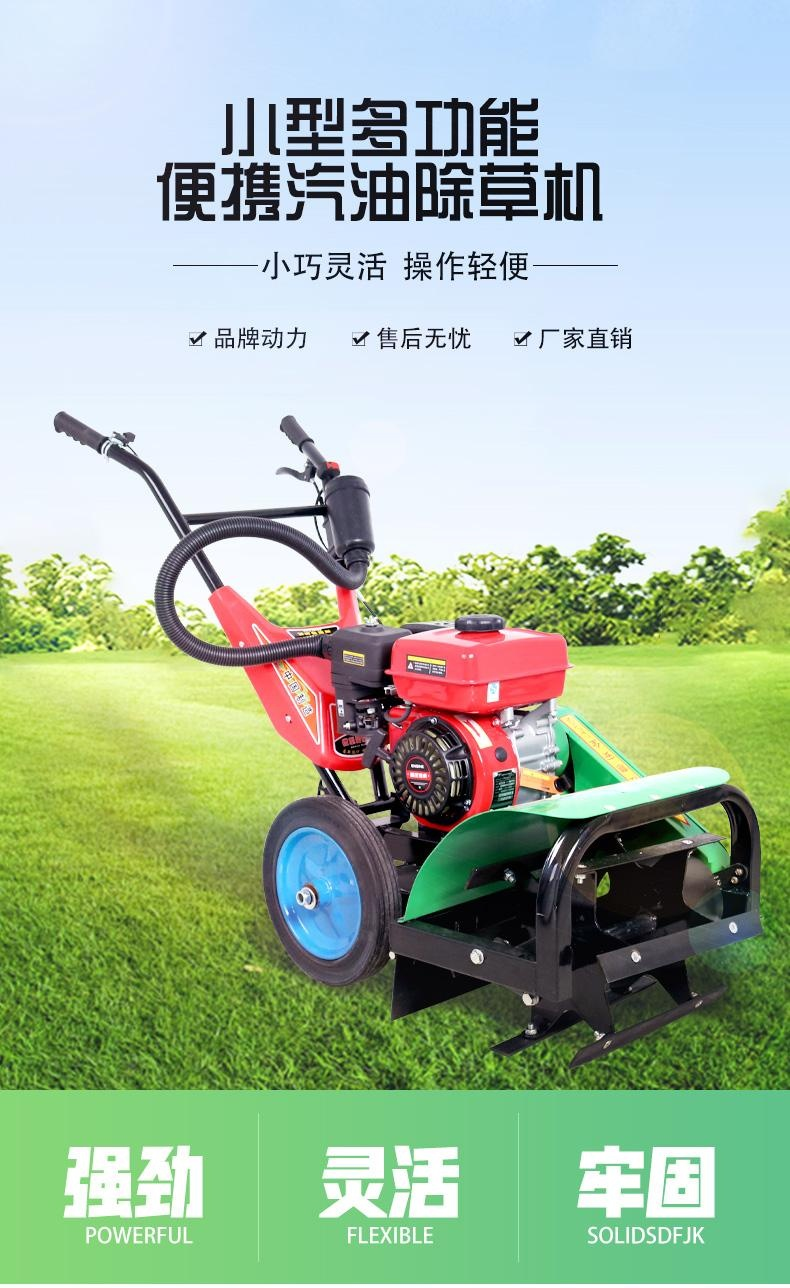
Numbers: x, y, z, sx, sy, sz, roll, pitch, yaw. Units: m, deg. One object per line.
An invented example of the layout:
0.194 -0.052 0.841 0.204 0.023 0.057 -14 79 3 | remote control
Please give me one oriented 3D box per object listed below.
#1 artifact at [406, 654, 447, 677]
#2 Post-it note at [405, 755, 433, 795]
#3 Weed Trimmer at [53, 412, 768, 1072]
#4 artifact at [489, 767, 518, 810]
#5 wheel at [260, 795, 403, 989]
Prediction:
0.095 0.067 2.604 0.019 0.056 0.166 -9 6 -34 | artifact
0.075 0.375 2.564 0.016 0.115 0.101 -13 21 -31 | Post-it note
-0.007 0.370 3.461 2.830 1.724 1.476 22 24 38 | Weed Trimmer
0.325 0.421 2.595 0.055 0.127 0.148 -2 6 30 | artifact
-0.183 0.782 2.797 0.196 0.594 0.557 -16 -8 -39 | wheel
